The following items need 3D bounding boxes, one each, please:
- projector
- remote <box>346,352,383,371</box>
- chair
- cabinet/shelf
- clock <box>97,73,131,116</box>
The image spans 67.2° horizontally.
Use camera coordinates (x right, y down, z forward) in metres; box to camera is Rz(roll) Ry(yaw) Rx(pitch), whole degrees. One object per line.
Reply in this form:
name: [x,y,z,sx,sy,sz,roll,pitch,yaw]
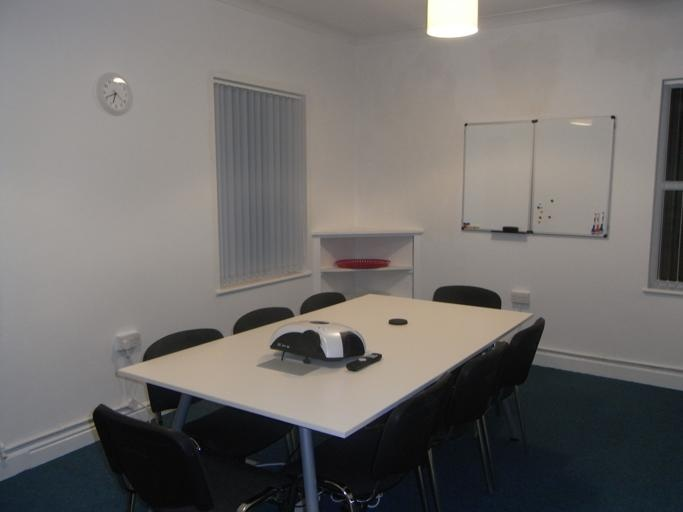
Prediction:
projector: [-0.103,0.426,3.047,0.465,0.218,0.458,8,5,31]
remote: [0.127,0.567,2.901,0.072,0.049,0.230,9,12,33]
chair: [-0.005,0.684,3.274,1.441,0.710,2.254,12,19,40]
cabinet/shelf: [0.263,-0.106,5.683,1.211,0.451,0.530,-2,14,-7]
clock: [-1.653,-1.171,3.718,0.056,0.252,0.242,4,30,35]
